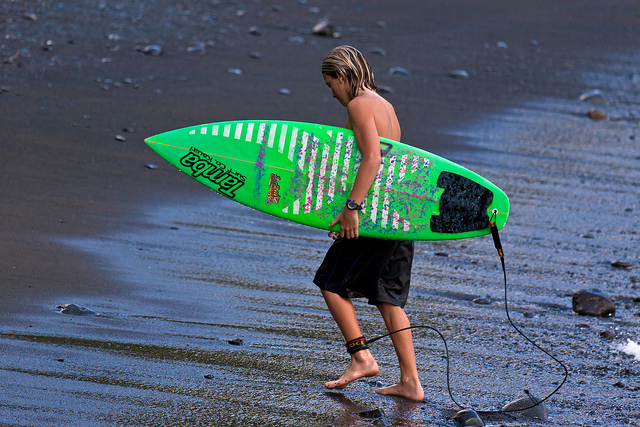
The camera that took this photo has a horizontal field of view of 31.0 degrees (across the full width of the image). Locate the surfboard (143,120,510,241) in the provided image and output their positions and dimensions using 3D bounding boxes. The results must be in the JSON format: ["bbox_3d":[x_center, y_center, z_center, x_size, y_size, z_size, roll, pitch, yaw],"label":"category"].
[{"bbox_3d":[0.140,-0.213,10.070,0.240,4.079,0.924,-15,76,46],"label":"surfboard"}]

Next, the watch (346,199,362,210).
[{"bbox_3d":[0.296,-0.069,9.821,0.123,0.077,0.035,9,51,23],"label":"watch"}]
